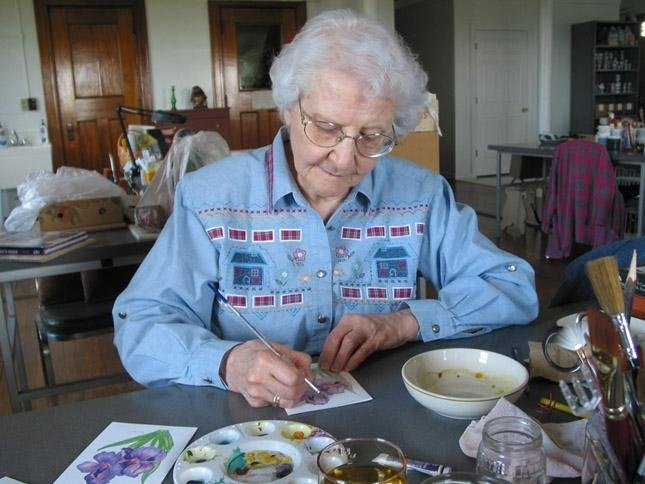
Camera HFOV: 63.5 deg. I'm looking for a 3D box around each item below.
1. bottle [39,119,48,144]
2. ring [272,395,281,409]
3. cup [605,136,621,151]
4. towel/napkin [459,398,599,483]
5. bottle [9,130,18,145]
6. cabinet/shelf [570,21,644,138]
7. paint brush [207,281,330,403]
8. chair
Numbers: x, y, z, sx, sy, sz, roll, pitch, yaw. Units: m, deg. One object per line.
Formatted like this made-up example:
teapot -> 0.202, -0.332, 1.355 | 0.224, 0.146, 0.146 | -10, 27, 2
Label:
bottle -> -3.230, -1.268, 5.981 | 0.084, 0.277, 0.042 | -8, 12, -21
ring -> -0.088, 0.307, 0.996 | 0.013, 0.021, 0.023 | 2, 4, 1
cup -> 2.382, -0.802, 4.252 | 0.103, 0.143, 0.096 | -2, 4, 0
towel/napkin -> 0.336, 0.316, 0.830 | 0.134, 0.044, 0.142 | 7, 30, 15
bottle -> -3.550, -1.182, 5.930 | 0.109, 0.171, 0.049 | -4, 11, -1
cabinet/shelf -> 4.866, -2.789, 8.844 | 1.053, 1.820, 0.660 | -6, 11, -12
paint brush -> -0.127, 0.221, 1.176 | 0.016, 0.286, 0.021 | -36, -19, -19
chair -> -1.074, 0.307, 2.216 | 0.327, 0.593, 0.333 | -15, -14, -26
